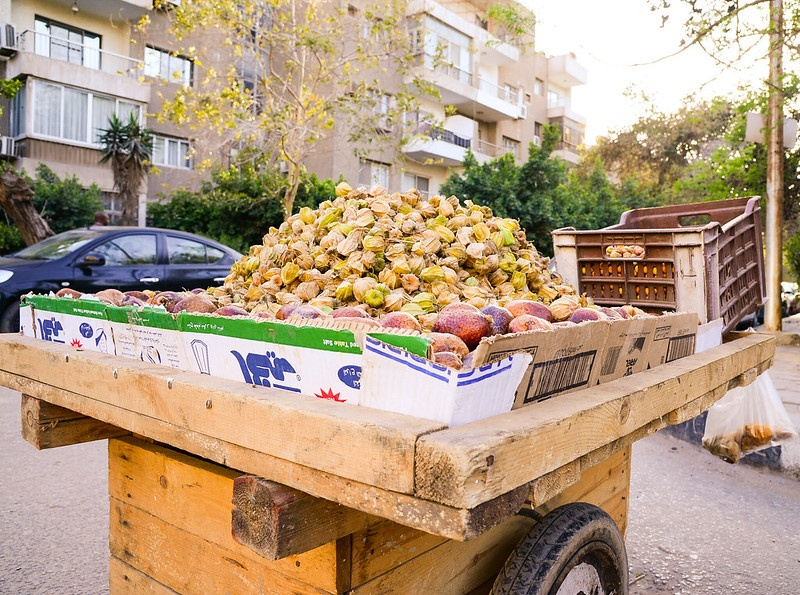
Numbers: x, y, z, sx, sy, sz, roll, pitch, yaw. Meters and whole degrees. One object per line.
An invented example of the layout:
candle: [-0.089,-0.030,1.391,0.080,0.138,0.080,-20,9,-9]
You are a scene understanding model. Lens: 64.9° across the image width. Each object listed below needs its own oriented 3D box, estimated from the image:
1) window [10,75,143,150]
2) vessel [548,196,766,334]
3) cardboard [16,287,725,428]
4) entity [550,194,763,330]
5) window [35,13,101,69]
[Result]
window: [-9.980,-5.534,19.142,0.914,1.368,2.913,17,4,41]
vessel: [2.091,-0.272,4.788,1.061,0.893,1.580,-3,2,40]
cardboard: [-0.274,0.170,2.450,2.610,0.271,1.074,2,6,12]
entity: [2.096,-0.217,4.907,1.082,0.936,1.656,3,7,42]
window: [-10.481,-7.975,19.776,2.283,1.700,0.216,3,0,-43]
